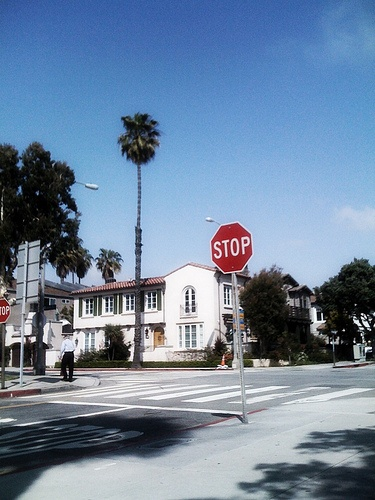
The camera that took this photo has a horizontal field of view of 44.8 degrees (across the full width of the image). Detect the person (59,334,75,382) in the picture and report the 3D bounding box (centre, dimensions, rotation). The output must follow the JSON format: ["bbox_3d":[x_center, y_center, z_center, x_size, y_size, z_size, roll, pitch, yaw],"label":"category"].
[{"bbox_3d":[-4.775,4.271,17.929,0.538,1.739,1.411,2,-12,-15],"label":"person"}]

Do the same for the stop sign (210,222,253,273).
[{"bbox_3d":[0.681,-0.034,7.269,0.613,0.823,0.688,-2,-11,3],"label":"stop sign"}]
